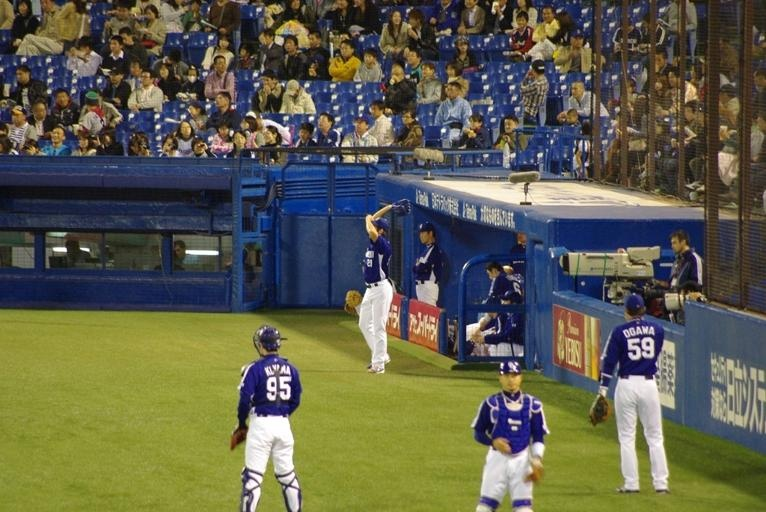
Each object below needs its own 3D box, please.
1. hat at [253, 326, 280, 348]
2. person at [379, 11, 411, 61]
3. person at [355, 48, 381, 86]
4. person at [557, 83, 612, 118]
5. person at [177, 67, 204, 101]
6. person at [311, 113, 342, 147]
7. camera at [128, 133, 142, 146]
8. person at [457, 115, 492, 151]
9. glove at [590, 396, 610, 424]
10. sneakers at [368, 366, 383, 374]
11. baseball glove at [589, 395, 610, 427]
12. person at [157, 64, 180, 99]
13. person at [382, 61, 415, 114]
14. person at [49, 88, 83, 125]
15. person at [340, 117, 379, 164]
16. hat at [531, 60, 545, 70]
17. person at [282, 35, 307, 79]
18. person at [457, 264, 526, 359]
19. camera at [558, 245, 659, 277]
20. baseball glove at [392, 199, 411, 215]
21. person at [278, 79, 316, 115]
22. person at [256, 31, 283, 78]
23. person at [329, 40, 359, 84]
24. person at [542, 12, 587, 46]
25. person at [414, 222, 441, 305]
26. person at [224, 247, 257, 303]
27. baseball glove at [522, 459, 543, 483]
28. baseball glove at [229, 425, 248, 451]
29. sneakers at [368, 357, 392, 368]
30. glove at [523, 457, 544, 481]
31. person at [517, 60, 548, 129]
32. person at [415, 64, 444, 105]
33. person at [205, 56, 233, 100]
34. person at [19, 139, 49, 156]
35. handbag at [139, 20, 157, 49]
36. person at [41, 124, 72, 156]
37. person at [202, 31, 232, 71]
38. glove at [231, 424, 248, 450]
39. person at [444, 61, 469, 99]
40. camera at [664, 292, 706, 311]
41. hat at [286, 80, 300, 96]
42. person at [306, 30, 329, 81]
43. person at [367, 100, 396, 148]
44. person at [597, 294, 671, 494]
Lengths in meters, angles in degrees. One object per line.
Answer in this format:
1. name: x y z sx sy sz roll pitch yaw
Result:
1. hat: -1.463 1.017 16.377 0.240 0.292 0.293 -1 8 -19
2. person: 0.283 -5.286 31.999 0.725 1.331 0.767 1 19 8
3. person: -0.333 -4.599 31.518 0.688 1.062 0.715 1 4 6
4. person: 4.413 -3.438 28.820 0.780 0.786 1.159 12 19 43
5. person: -4.653 -4.094 31.489 0.793 0.917 0.657 -1 2 5
6. person: -1.252 -2.731 29.113 0.541 0.893 0.596 5 -2 -45
7. camera: -5.511 -2.604 29.083 0.267 0.269 0.251 5 -3 -40
8. person: 1.986 -2.693 28.524 0.646 0.803 1.534 0 12 3
9. glove: 2.856 2.041 17.296 0.306 0.365 0.096 0 6 -3
10. sneakers: -0.119 1.944 22.114 0.267 0.122 0.101 4 5 5
11. baseball glove: 2.865 2.042 17.300 0.308 0.429 0.111 6 6 0
12. person: -5.317 -4.200 31.799 0.538 0.994 0.487 11 28 -5
13. person: 0.389 -3.872 30.213 0.802 1.299 0.919 -4 10 -43
14. person: -7.516 -3.336 30.559 0.642 1.089 0.610 0 10 3
15. person: -0.508 -2.360 28.651 0.693 1.353 0.719 -1 -3 5
16. hat: 3.460 -4.204 28.974 0.250 0.258 0.458 0 12 0
17. person: -2.262 -4.767 31.820 0.654 1.106 0.729 11 14 34
18. person: 1.869 0.953 22.526 1.028 1.489 1.008 -4 12 -16
19. camera: 3.633 0.126 20.725 0.995 0.482 0.691 1 2 -1
20. baseball glove: 0.365 -0.923 24.987 0.318 0.325 0.453 -1 12 -3
21. person: -2.108 -3.464 30.624 0.749 1.134 0.628 -1 -18 4
22. person: -2.749 -4.874 32.422 0.605 1.446 0.634 -6 24 -32
23. person: -0.899 -4.681 32.125 0.822 1.172 0.683 9 10 35
24. person: 4.463 -5.361 31.162 0.914 0.974 0.703 -2 11 -1
25. person: 0.838 0.163 24.227 0.505 1.418 0.907 0 12 2
26. person: -2.947 0.405 27.627 0.375 1.341 0.855 3 12 17
27. baseball glove: 1.823 2.580 15.727 0.228 0.251 0.280 -7 4 0
28. baseball glove: -1.796 2.257 16.241 0.222 0.373 0.184 2 -5 6
29. sneakers: -0.026 1.857 22.151 0.377 0.178 0.168 -14 17 -22
30. glove: 1.832 2.584 15.719 0.180 0.395 0.275 2 12 10
31. person: 3.444 -3.688 29.542 0.587 1.507 1.352 1 12 5
32. person: 1.019 -3.965 30.249 0.582 1.030 0.640 -4 -2 20
33. person: -3.951 -4.086 31.232 0.743 1.342 0.806 -2 6 -23
34. person: -7.927 -2.398 29.368 0.512 0.383 0.761 3 1 -7
35. handbag: -5.976 -5.574 33.108 0.520 0.556 0.211 6 3 12
36. person: -7.495 -2.626 29.736 0.842 0.840 0.481 2 -5 2
37. person: -4.169 -5.076 32.563 0.691 1.007 0.387 11 14 25
38. glove: -1.783 2.293 16.258 0.214 0.373 0.187 5 4 20
39. person: 1.660 -3.977 30.086 0.586 0.890 0.501 -16 -23 22
40. camera: 4.470 0.656 19.363 0.412 0.180 0.264 -11 14 12
41. hat: -2.111 -3.920 30.491 0.277 0.362 0.372 10 -22 4
42. person: -1.679 -4.864 32.189 0.487 1.468 0.581 19 46 21
43. person: -0.063 -2.827 29.154 0.590 1.216 0.556 -13 27 -31
44. person: 3.314 1.977 17.220 0.976 2.198 0.661 2 12 11
